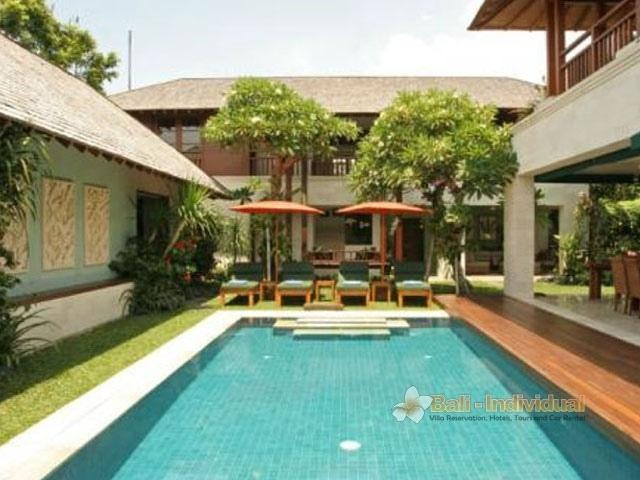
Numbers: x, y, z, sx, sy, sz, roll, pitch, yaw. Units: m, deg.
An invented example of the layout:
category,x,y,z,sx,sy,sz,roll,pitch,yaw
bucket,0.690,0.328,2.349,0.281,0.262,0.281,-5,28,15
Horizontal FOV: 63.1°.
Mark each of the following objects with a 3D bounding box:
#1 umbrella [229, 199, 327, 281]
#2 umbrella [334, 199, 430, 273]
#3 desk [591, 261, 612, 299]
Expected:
category,x,y,z,sx,sy,sz,roll,pitch,yaw
umbrella,-1.623,0.029,18.208,2.696,1.682,2.842,1,-1,-36
umbrella,1.650,-0.349,14.426,1.326,1.285,1.404,-12,-9,31
desk,7.625,1.131,14.144,0.749,0.987,0.588,0,-3,-44
